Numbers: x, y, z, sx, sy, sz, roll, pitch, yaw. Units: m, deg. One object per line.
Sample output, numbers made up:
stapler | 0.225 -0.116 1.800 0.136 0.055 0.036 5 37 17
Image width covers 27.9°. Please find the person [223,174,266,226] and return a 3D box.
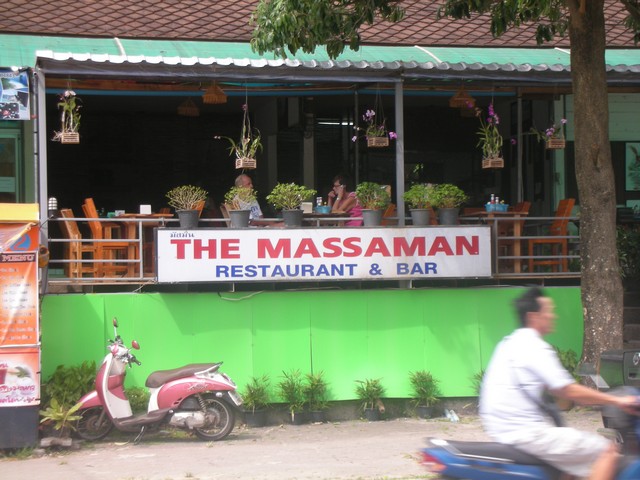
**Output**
person | -1.291 -0.652 22.346 0.496 0.926 0.612 0 14 21

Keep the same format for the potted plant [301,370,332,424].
potted plant | -0.037 2.681 21.692 0.693 1.098 0.674 -1 2 3

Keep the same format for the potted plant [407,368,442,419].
potted plant | 1.821 2.600 21.885 0.666 1.039 0.669 0 -10 -4

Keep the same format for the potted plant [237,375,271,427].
potted plant | -1.046 2.707 21.603 0.361 0.747 0.520 13 20 43

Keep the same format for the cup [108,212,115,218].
cup | -3.803 -0.418 23.332 0.144 0.091 0.145 -1 1 0

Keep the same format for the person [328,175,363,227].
person | 0.507 -0.417 23.193 0.667 1.316 0.594 0 -1 1

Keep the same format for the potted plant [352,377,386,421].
potted plant | 0.885 2.709 21.802 0.611 0.868 0.592 -3 -5 25

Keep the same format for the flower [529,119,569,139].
flower | 4.625 -2.134 25.553 0.562 0.396 0.663 -6 1 2

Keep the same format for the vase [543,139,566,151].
vase | 4.451 -1.760 24.347 0.251 0.153 0.249 0 0 -4

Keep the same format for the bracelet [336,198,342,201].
bracelet | 0.369 -0.703 23.325 0.088 0.049 0.059 -3 -1 -11

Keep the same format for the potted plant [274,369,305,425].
potted plant | -0.460 2.649 21.681 0.420 0.806 0.361 -2 15 -1

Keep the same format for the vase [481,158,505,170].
vase | 3.167 -1.369 23.637 0.353 0.212 0.350 0 -3 -17
